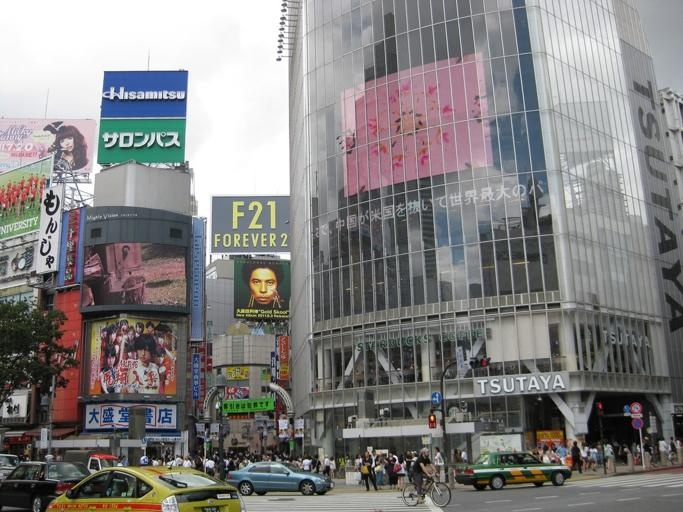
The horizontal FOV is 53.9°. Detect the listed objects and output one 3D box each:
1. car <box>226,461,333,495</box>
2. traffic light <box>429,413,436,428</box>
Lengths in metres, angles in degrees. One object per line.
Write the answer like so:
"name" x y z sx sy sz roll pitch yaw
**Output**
"car" -3.482 12.780 38.398 5.450 1.971 2.341 -4 -17 6
"traffic light" 5.244 9.477 38.557 0.364 0.736 1.555 -5 -15 12
